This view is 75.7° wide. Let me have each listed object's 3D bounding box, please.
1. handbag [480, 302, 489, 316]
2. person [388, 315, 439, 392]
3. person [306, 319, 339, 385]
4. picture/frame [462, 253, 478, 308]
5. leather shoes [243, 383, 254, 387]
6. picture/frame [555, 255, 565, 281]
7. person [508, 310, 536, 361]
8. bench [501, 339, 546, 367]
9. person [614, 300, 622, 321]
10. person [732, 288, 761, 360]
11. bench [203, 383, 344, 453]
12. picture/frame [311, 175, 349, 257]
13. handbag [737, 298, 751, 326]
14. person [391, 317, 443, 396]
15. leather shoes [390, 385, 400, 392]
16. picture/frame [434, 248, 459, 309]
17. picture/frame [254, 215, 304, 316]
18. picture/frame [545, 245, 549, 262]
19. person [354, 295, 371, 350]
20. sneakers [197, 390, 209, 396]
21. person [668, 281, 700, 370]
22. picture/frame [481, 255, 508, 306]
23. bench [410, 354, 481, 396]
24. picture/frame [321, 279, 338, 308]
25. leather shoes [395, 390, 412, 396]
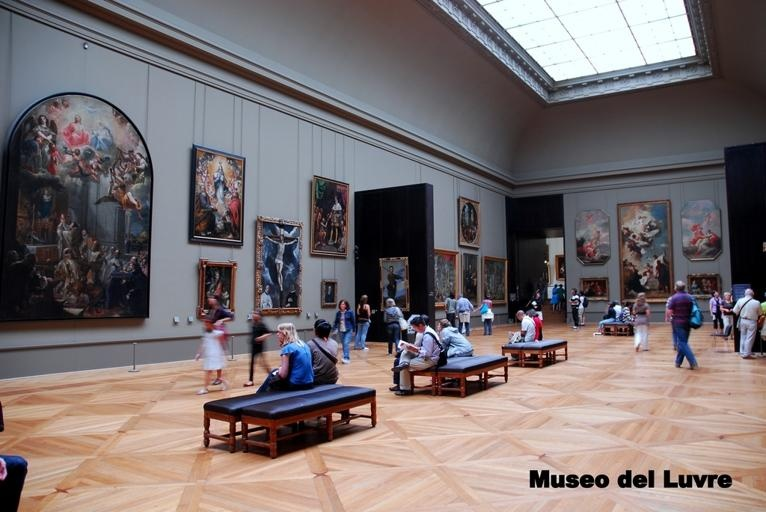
[{"bbox_3d":[5.102,2.609,24.765,0.318,0.635,0.830,-1,-2,4],"label":"handbag"},{"bbox_3d":[0.700,2.296,11.316,1.490,1.788,0.831,-7,11,-38],"label":"person"},{"bbox_3d":[-1.279,1.846,9.647,0.661,1.185,0.898,3,-5,-26],"label":"person"},{"bbox_3d":[4.707,1.383,27.065,0.239,3.619,2.647,-4,-6,30],"label":"picture/frame"},{"bbox_3d":[-3.294,3.138,12.031,0.169,0.077,0.097,4,-6,-5],"label":"leather shoes"},{"bbox_3d":[14.077,0.946,39.526,0.691,2.044,0.360,-2,-3,40],"label":"picture/frame"},{"bbox_3d":[4.428,2.409,15.473,0.783,1.365,0.557,2,8,41],"label":"person"},{"bbox_3d":[4.314,2.935,14.970,1.056,0.672,1.293,-1,-2,21],"label":"bench"},{"bbox_3d":[11.230,2.628,23.583,0.329,0.817,0.721,-1,-2,25],"label":"person"},{"bbox_3d":[11.273,2.062,15.239,0.593,2.101,0.767,-1,-2,24],"label":"person"},{"bbox_3d":[-2.076,2.768,8.304,1.782,0.811,0.788,0,-2,-22],"label":"bench"},{"bbox_3d":[-2.164,-1.558,19.407,0.158,4.081,2.815,-5,-8,33],"label":"picture/frame"},{"bbox_3d":[11.117,1.604,15.205,0.115,0.481,0.506,8,35,18],"label":"handbag"},{"bbox_3d":[0.756,2.284,11.360,1.397,1.809,0.846,-7,9,-28],"label":"person"},{"bbox_3d":[0.294,3.118,11.598,0.096,0.122,0.272,-12,-18,43],"label":"leather shoes"},{"bbox_3d":[3.112,1.168,24.731,0.186,2.421,2.806,-2,-2,25],"label":"picture/frame"},{"bbox_3d":[-3.712,0.385,17.538,0.130,3.463,1.967,-3,-3,42],"label":"picture/frame"},{"bbox_3d":[13.234,-0.284,39.687,0.203,1.379,0.930,-2,-2,30],"label":"picture/frame"},{"bbox_3d":[-0.723,2.428,17.818,0.513,2.027,1.485,0,-2,-3],"label":"person"},{"bbox_3d":[-4.151,3.135,11.305,0.181,0.086,0.105,1,-5,3],"label":"sneakers"},{"bbox_3d":[8.269,1.912,13.676,0.654,2.407,1.127,-2,-3,32],"label":"person"},{"bbox_3d":[6.628,1.509,29.801,0.266,2.488,2.845,-5,-8,30],"label":"picture/frame"},{"bbox_3d":[1.316,2.785,11.362,0.835,0.503,1.232,-4,-2,32],"label":"bench"},{"bbox_3d":[-2.141,1.486,19.295,0.121,1.227,1.059,-4,-4,33],"label":"picture/frame"},{"bbox_3d":[0.464,3.099,11.298,0.344,0.151,0.133,3,-3,6],"label":"leather shoes"}]
